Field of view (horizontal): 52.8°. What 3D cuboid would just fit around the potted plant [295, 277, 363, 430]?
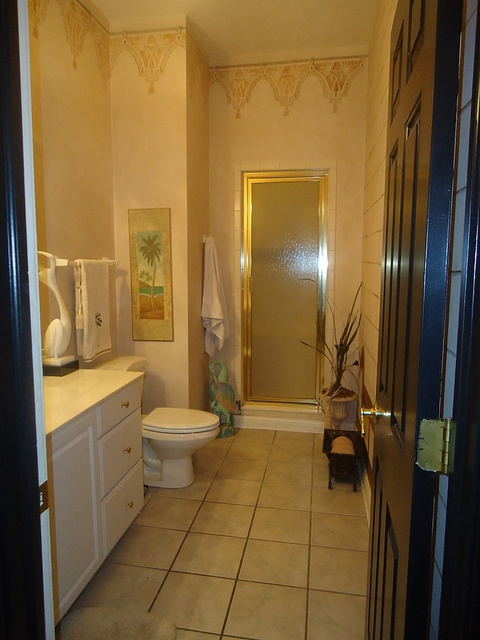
[{"bbox_3d":[0.643,0.262,3.366,0.378,1.040,0.495,1,5,14],"label":"potted plant"}]

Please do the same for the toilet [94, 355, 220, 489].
[{"bbox_3d":[-0.423,0.572,2.914,0.638,1.010,0.487,1,6,6],"label":"toilet"}]

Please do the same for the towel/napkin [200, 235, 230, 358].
[{"bbox_3d":[-0.184,-0.167,3.506,0.180,0.861,0.298,0,5,6],"label":"towel/napkin"}]
